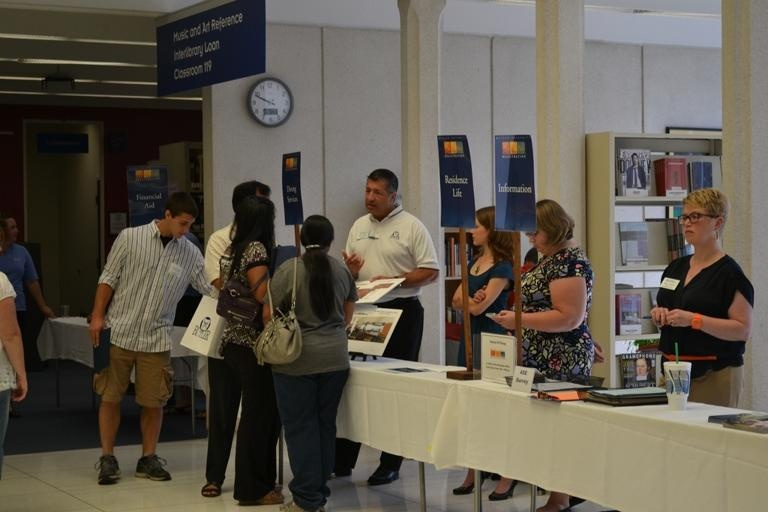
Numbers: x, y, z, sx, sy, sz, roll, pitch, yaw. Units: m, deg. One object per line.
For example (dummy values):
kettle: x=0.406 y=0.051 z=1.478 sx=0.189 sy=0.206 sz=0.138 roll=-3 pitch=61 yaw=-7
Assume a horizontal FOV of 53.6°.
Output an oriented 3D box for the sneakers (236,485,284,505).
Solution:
sneakers: x=-0.925 y=1.820 z=5.732 sx=0.297 sy=0.144 sz=0.147 roll=-2 pitch=-1 yaw=-6

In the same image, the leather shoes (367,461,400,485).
leather shoes: x=0.000 y=1.800 z=6.286 sx=0.110 sy=0.148 sz=0.306 roll=-6 pitch=-11 yaw=38

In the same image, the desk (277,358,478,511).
desk: x=0.071 y=1.024 z=5.052 sx=0.684 sy=0.613 sz=1.129 roll=-2 pitch=3 yaw=-35

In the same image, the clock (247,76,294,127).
clock: x=-1.307 y=-1.736 z=8.554 sx=0.489 sy=0.556 sz=0.067 roll=3 pitch=-2 yaw=-18

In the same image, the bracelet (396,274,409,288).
bracelet: x=0.140 y=0.193 z=5.815 sx=0.029 sy=0.067 sz=0.085 roll=5 pitch=-26 yaw=-14

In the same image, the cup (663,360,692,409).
cup: x=1.544 y=0.669 z=4.026 sx=0.133 sy=0.246 sz=0.206 roll=0 pitch=2 yaw=20

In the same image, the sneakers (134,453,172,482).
sneakers: x=-1.950 y=1.777 z=6.462 sx=0.387 sy=0.201 sz=0.168 roll=0 pitch=-4 yaw=37

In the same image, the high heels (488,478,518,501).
high heels: x=0.864 y=1.791 z=5.831 sx=0.280 sy=0.209 sz=0.096 roll=6 pitch=-11 yaw=-29

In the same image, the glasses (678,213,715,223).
glasses: x=1.936 y=-0.239 z=4.717 sx=0.186 sy=0.065 sz=0.079 roll=1 pitch=2 yaw=34

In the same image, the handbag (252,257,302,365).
handbag: x=-0.698 y=0.381 z=5.151 sx=0.366 sy=0.731 sz=0.205 roll=0 pitch=2 yaw=38
